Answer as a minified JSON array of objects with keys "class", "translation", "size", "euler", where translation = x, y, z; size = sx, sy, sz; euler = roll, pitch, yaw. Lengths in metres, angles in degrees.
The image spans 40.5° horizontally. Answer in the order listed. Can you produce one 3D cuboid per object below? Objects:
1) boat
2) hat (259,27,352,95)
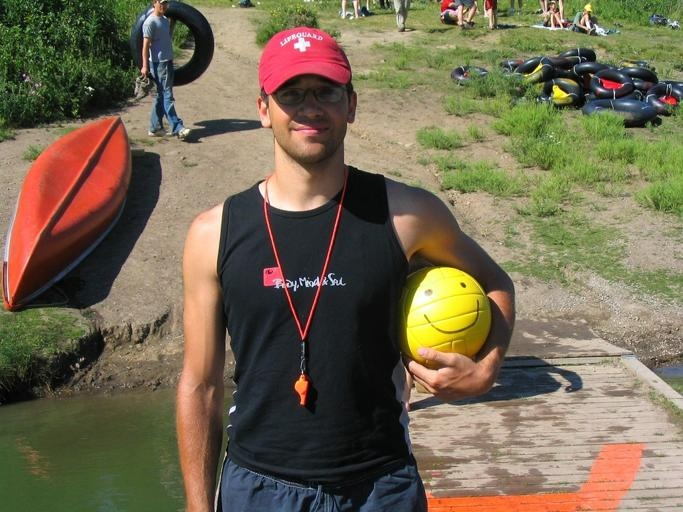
[{"class":"boat","translation":[-4.047,-0.606,13.752],"size":[1.200,1.957,2.987],"euler":[2,16,7]},{"class":"hat","translation":[-0.357,-1.791,8.323],"size":[0.793,0.618,0.687],"euler":[2,20,-13]}]
